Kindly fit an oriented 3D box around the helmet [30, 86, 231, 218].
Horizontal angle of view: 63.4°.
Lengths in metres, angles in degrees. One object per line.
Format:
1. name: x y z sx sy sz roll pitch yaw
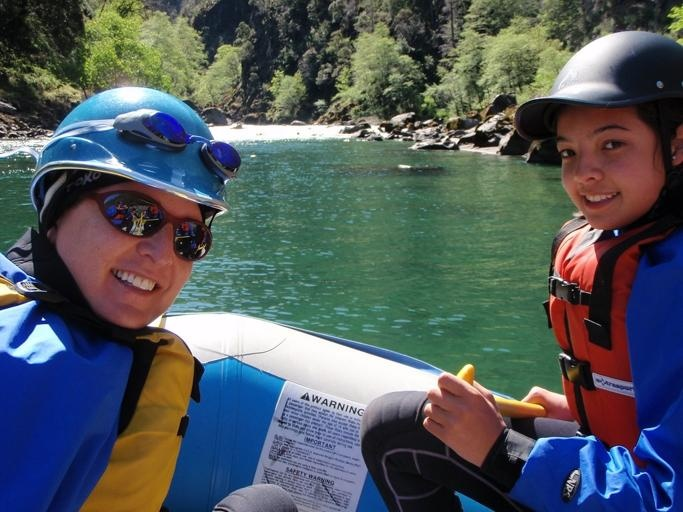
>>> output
1. helmet: -0.586 -0.339 1.581 0.469 0.280 0.409 4 -14 18
